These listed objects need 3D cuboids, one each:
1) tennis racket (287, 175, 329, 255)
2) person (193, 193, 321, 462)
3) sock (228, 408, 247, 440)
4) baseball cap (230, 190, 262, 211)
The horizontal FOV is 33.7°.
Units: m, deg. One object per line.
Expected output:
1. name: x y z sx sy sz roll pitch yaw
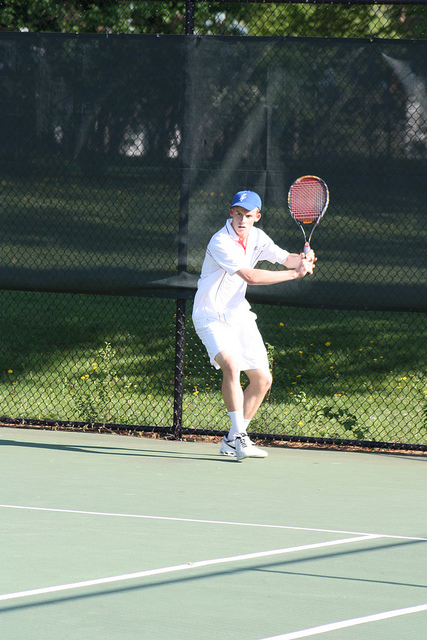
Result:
1. tennis racket: 0.674 -0.746 5.029 0.272 0.551 0.578 2 0 16
2. person: 0.264 0.085 4.936 0.808 1.699 0.815 2 0 -2
3. sock: 0.162 0.689 4.798 0.111 0.192 0.203 2 0 2
4. baseball cap: 0.213 -0.782 4.621 0.172 0.132 0.203 2 0 32
